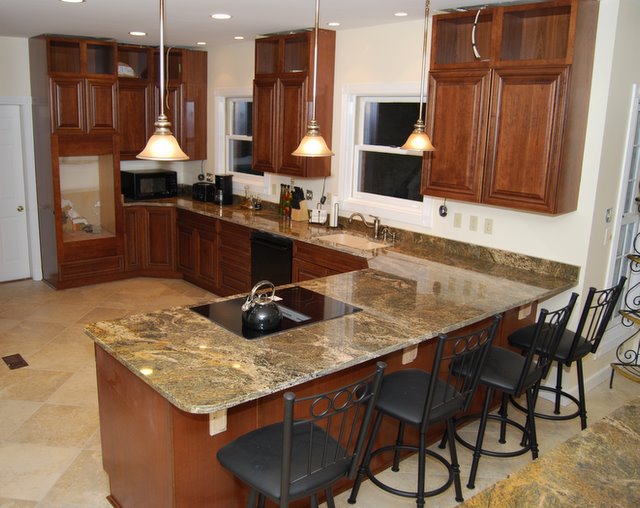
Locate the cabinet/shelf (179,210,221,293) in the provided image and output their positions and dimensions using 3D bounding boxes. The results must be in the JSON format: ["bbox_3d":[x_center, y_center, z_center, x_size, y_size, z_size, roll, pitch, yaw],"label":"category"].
[{"bbox_3d":[-1.422,-0.057,6.366,0.474,0.928,0.791,-10,20,-43],"label":"cabinet/shelf"}]

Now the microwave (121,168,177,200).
[{"bbox_3d":[-2.203,-0.935,7.020,0.592,0.297,0.417,-3,13,-25],"label":"microwave"}]

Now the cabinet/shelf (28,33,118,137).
[{"bbox_3d":[-2.673,-1.924,6.179,0.782,1.160,0.554,-1,7,-6],"label":"cabinet/shelf"}]

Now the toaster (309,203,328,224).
[{"bbox_3d":[-0.008,-0.434,5.610,0.179,0.212,0.085,21,28,36],"label":"toaster"}]

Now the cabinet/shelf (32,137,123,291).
[{"bbox_3d":[-2.695,-0.515,6.406,0.811,1.763,0.648,-5,0,-8],"label":"cabinet/shelf"}]

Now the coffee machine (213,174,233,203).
[{"bbox_3d":[-1.207,-0.815,6.606,0.222,0.376,0.143,-5,17,-13],"label":"coffee machine"}]

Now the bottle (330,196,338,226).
[{"bbox_3d":[0.143,-0.449,5.487,0.092,0.310,0.148,0,17,5],"label":"bottle"}]

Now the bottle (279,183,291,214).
[{"bbox_3d":[-0.394,-0.633,6.007,0.143,0.333,0.257,-3,16,-4],"label":"bottle"}]

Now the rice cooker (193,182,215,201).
[{"bbox_3d":[-1.485,-0.810,6.820,0.205,0.243,0.511,-11,19,-31],"label":"rice cooker"}]
